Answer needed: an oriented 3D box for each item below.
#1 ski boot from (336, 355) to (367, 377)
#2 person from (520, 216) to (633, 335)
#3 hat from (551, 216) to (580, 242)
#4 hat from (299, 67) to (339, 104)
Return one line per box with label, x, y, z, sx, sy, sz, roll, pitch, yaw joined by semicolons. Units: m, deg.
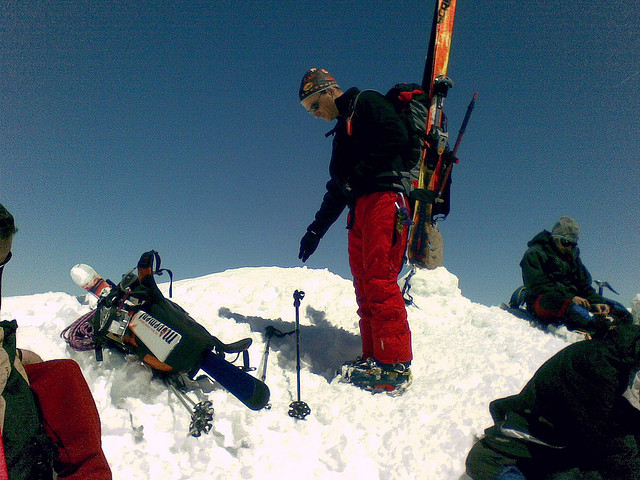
ski boot;0.376;1.546;6.723;0.284;0.106;0.244;-18;-9;7
person;3.237;0.690;7.411;0.903;1.309;0.905;20;-36;-30
hat;3.307;-0.126;7.566;0.262;0.291;0.295;23;-7;-14
hat;-0.030;-1.953;6.869;0.439;0.344;0.384;-11;21;-27
